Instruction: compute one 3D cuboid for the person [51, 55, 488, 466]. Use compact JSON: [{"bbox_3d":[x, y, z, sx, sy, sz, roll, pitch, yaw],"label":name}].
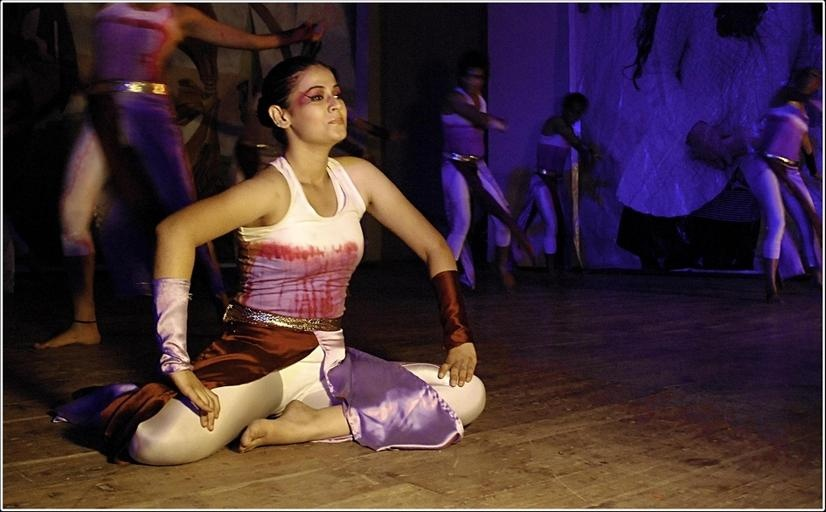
[{"bbox_3d":[-0.469,0.026,2.109,1.557,1.331,0.833,0,4,-34],"label":"person"}]
